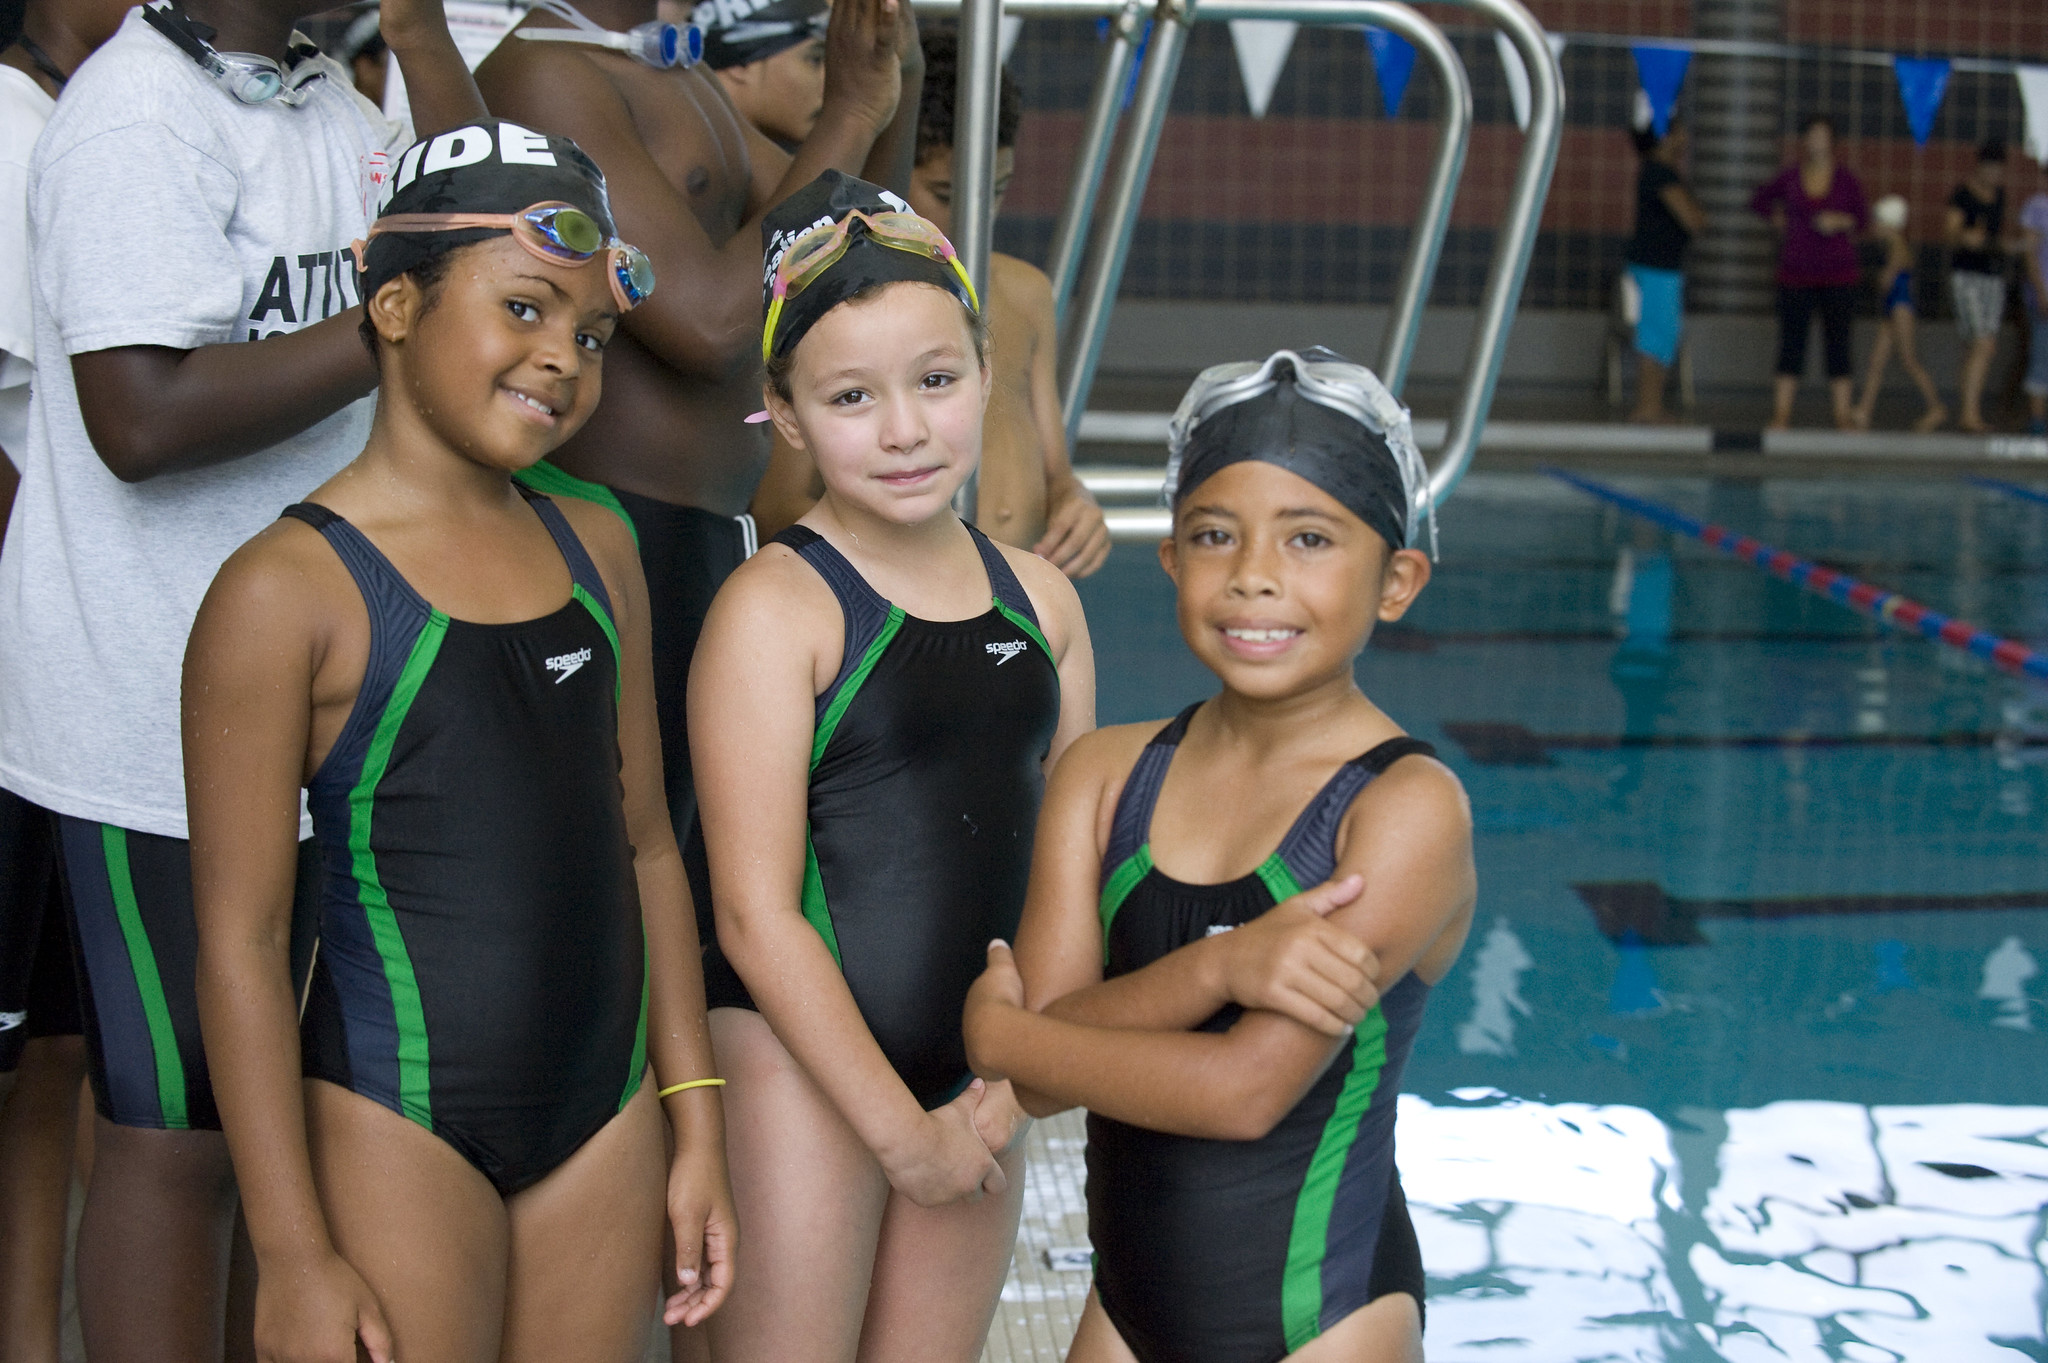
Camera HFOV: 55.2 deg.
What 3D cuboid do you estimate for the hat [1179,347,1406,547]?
[{"bbox_3d":[0.343,-0.321,2.458,0.224,0.278,0.228,0,29,9],"label":"hat"}]

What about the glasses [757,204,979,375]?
[{"bbox_3d":[-0.229,-0.597,2.699,0.287,0.153,0.226,-9,16,-39],"label":"glasses"}]
